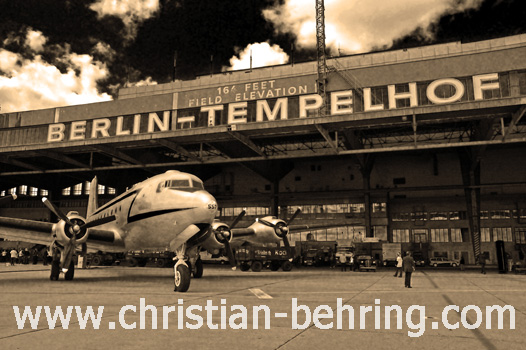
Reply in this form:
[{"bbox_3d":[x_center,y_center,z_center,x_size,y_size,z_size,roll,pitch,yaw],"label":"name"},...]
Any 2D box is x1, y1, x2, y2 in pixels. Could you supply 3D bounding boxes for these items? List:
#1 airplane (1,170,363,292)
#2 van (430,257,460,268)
[{"bbox_3d":[-10.838,4.626,53.686,23.835,10.548,13.043,2,7,4],"label":"airplane"},{"bbox_3d":[25.627,12.429,80.989,3.404,1.233,1.555,-2,-7,11],"label":"van"}]
